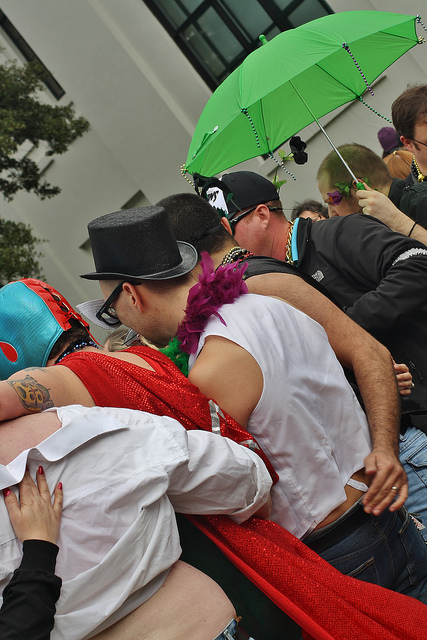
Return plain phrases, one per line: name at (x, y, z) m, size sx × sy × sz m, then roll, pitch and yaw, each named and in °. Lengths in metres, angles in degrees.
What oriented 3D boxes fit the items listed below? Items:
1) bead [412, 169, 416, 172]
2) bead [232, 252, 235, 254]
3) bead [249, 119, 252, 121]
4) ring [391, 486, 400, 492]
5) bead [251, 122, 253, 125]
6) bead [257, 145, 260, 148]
bead at (1.403, -1.044, 4.029) m, size 0.025 × 0.027 × 0.009 m, roll -1°, pitch -9°, yaw -1°
bead at (0.069, -0.228, 1.974) m, size 0.005 × 0.006 × 0.008 m, roll -29°, pitch -2°, yaw 24°
bead at (0.236, -1.248, 3.614) m, size 0.020 × 0.009 × 0.013 m, roll -25°, pitch -1°, yaw -21°
ring at (0.461, 0.425, 1.458) m, size 0.006 × 0.013 × 0.012 m, roll -25°, pitch 0°, yaw -35°
bead at (0.243, -1.233, 3.625) m, size 0.016 × 0.013 × 0.015 m, roll -2°, pitch 5°, yaw -17°
bead at (0.296, -1.117, 3.723) m, size 0.012 × 0.009 × 0.019 m, roll -2°, pitch -14°, yaw 9°
